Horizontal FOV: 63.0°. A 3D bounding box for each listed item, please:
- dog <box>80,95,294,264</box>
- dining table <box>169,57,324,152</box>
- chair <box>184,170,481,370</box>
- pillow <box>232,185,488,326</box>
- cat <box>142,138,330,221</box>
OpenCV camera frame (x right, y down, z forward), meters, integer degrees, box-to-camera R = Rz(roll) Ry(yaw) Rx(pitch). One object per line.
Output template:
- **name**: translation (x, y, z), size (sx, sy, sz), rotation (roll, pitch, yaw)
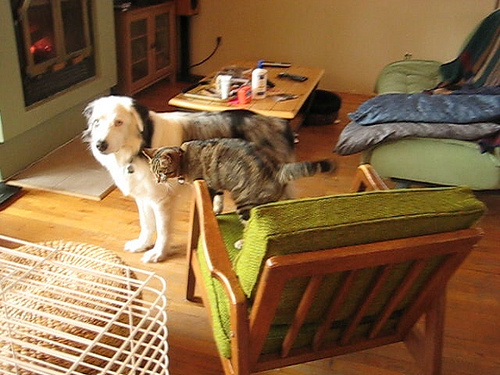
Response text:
- **dog**: translation (-0.414, -0.076, 2.526), size (0.462, 0.875, 1.477), rotation (22, 22, 37)
- **dining table**: translation (0.000, -0.708, 3.272), size (0.871, 0.261, 1.198), rotation (12, 34, 9)
- **chair**: translation (0.193, 0.160, 1.688), size (0.795, 0.720, 0.912), rotation (-9, 35, -7)
- **pillow**: translation (0.342, 0.250, 1.371), size (0.752, 0.546, 0.119), rotation (-2, 33, -13)
- **cat**: translation (-0.016, -0.015, 1.943), size (1.021, 0.380, 0.319), rotation (4, 26, 27)
